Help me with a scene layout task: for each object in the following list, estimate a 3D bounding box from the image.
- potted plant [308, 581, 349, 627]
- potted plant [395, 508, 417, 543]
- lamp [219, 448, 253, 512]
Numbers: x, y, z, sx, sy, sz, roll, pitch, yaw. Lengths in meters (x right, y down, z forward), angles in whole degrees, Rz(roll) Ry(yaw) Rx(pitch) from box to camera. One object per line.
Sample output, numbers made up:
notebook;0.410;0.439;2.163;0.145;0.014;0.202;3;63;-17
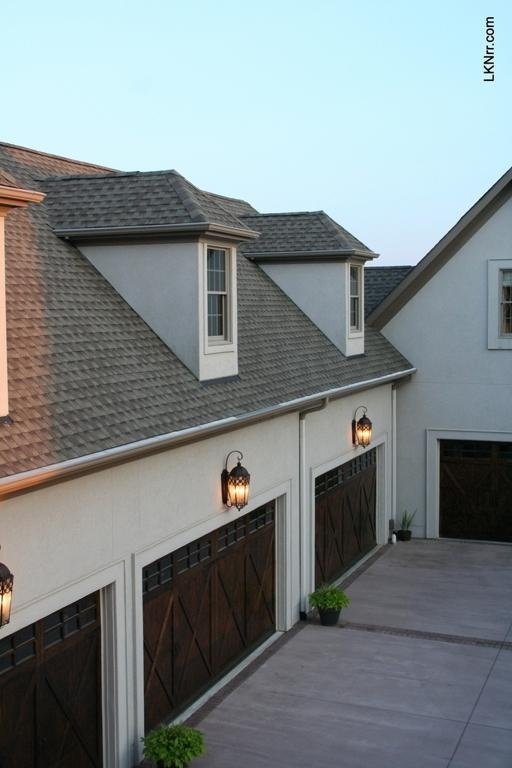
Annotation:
potted plant;1.278;3.843;11.992;0.606;0.582;0.627;-1;-8;0
potted plant;3.961;3.750;18.115;0.457;0.710;0.637;0;-1;19
lamp;-0.243;1.316;9.145;0.364;0.848;0.746;0;-1;9
